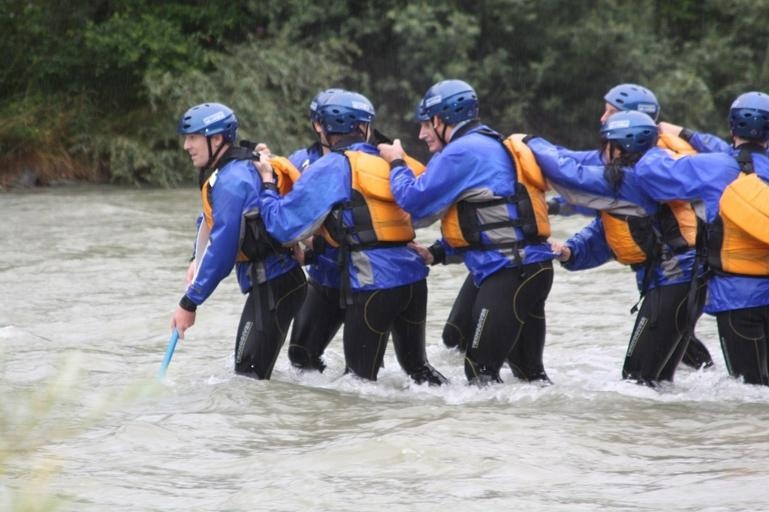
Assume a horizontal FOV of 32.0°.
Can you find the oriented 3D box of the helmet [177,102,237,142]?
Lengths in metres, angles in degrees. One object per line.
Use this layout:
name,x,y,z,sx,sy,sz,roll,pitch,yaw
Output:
helmet,-2.344,-1.744,17.677,0.690,0.367,0.489,-8,13,-15
